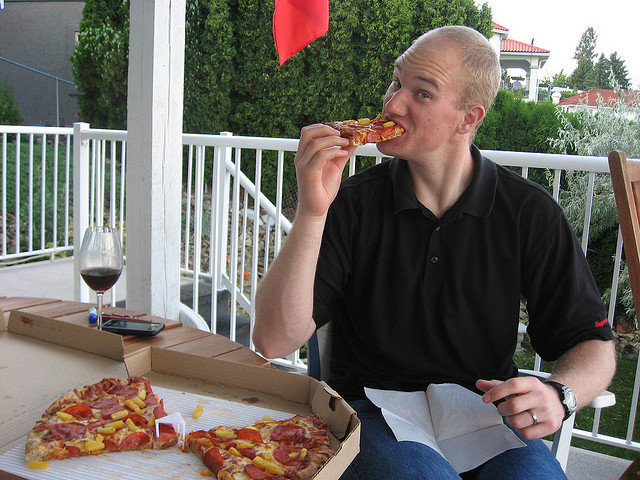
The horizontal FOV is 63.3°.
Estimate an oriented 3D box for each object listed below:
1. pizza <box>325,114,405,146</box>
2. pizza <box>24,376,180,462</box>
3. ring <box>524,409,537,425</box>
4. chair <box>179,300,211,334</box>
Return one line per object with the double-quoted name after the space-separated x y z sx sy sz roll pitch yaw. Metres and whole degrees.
0.165 -0.397 1.888 0.309 0.075 0.319 -4 19 10 "pizza"
-0.501 0.414 1.236 0.324 0.062 0.242 -2 15 -15 "pizza"
0.594 0.494 1.463 0.008 0.036 0.034 -20 0 -8 "ring"
-0.858 0.511 3.520 0.176 0.115 0.376 1 9 -10 "chair"
